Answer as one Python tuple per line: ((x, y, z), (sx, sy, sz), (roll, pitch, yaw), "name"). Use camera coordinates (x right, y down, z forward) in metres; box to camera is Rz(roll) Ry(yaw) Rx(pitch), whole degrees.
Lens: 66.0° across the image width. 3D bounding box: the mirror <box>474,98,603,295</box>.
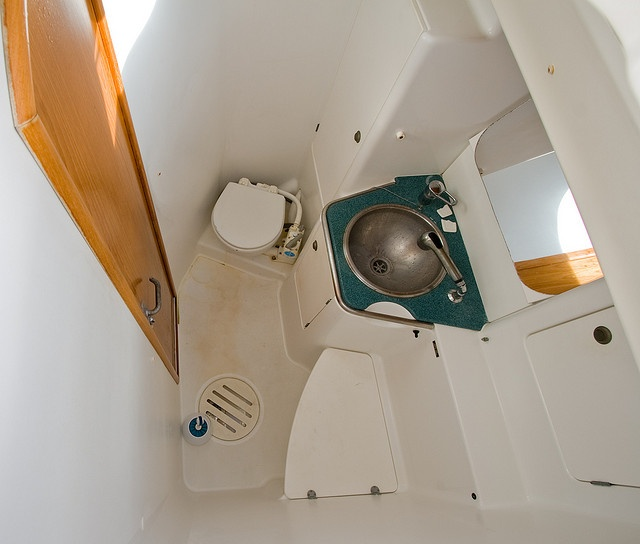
((0.682, -0.231, 1.610), (0.214, 0.656, 0.267), (27, -43, -34), "mirror")
